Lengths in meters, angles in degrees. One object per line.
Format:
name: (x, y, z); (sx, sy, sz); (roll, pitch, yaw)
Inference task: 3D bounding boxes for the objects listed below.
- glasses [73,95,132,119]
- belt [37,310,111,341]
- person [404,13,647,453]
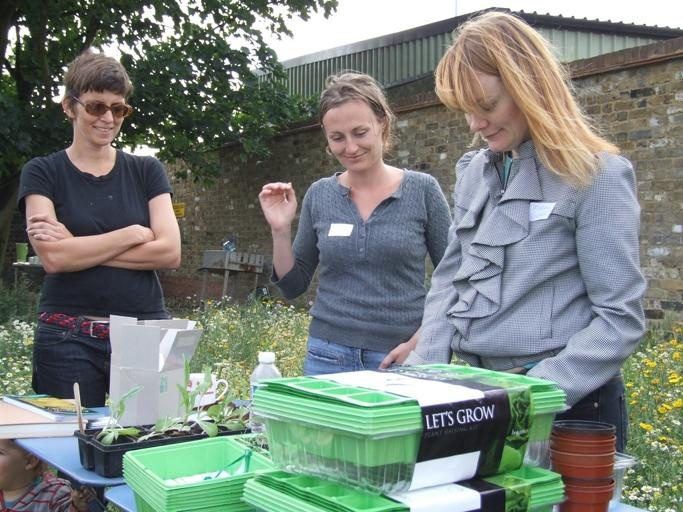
glasses: (-1.219, -0.745, 3.168); (0.293, 0.111, 0.153); (-1, -4, -28)
belt: (-1.293, 0.331, 3.027); (0.235, 0.060, 0.166); (6, 0, -9)
person: (0.609, -0.205, 2.156); (0.781, 1.341, 0.515); (-5, -4, 29)
